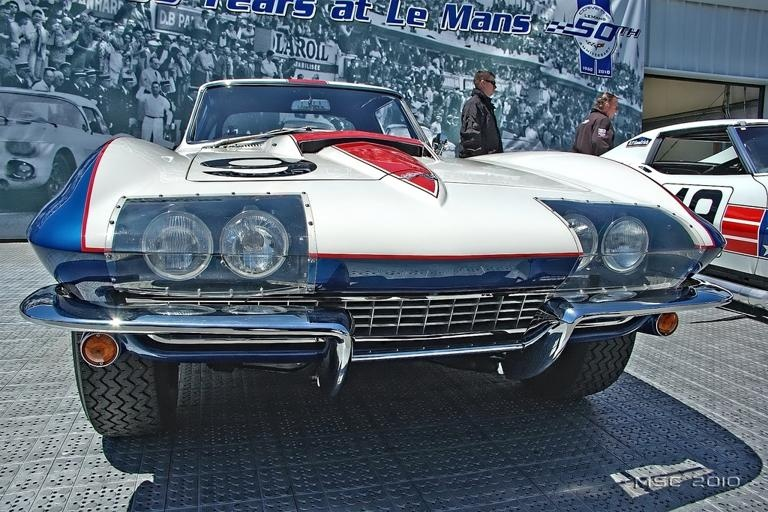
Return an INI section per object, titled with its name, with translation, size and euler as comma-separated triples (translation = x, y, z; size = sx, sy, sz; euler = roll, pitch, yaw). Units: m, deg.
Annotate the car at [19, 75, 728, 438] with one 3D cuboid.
[car]
translation = -0.495, -0.073, 2.664
size = 1.821, 0.717, 2.508
euler = 0, 4, -19
